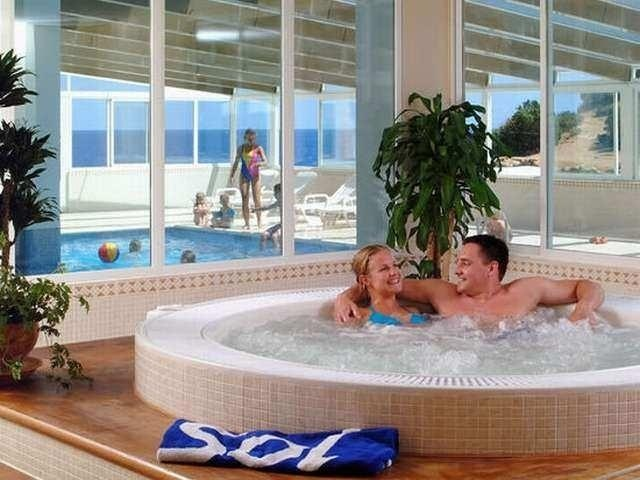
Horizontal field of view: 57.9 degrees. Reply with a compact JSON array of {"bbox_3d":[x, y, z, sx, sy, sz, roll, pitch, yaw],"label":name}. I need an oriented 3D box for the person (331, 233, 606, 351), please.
[{"bbox_3d":[0.847,0.335,3.278,1.367,0.624,0.489,-10,-4,22],"label":"person"}]

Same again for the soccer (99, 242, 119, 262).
[{"bbox_3d":[-1.511,0.087,4.156,0.114,0.144,0.121,-4,4,-17],"label":"soccer"}]
